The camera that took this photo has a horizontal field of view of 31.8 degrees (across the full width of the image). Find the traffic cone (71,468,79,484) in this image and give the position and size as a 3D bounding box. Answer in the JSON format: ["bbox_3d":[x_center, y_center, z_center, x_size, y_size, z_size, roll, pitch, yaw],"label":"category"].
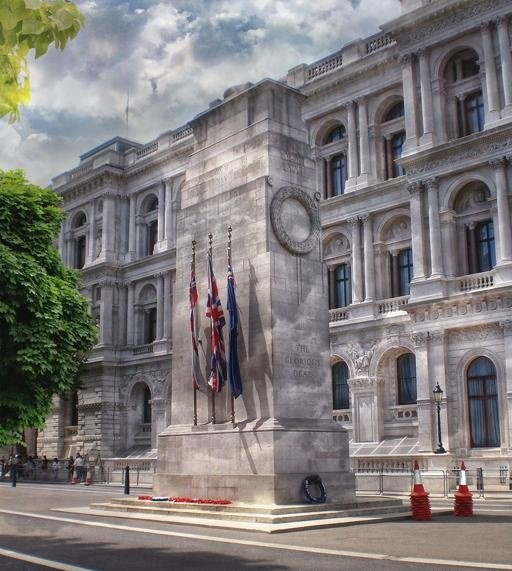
[{"bbox_3d":[-9.493,10.011,47.429,0.541,0.689,0.524,9,-17,-24],"label":"traffic cone"}]

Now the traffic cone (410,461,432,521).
[{"bbox_3d":[3.507,4.434,19.443,0.431,1.239,1.216,-4,-15,10],"label":"traffic cone"}]
